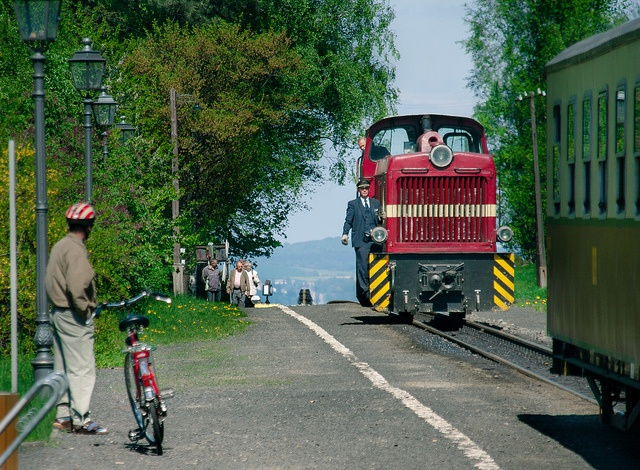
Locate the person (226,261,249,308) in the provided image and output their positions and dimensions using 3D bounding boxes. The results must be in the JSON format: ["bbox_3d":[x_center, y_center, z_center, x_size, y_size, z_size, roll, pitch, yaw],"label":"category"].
[{"bbox_3d":[-2.360,1.474,28.424,0.650,1.732,0.472,3,21,3],"label":"person"}]

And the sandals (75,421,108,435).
[{"bbox_3d":[-2.874,2.376,12.373,0.382,0.173,0.173,0,-2,0],"label":"sandals"}]

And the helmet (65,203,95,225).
[{"bbox_3d":[-3.039,-0.296,12.407,0.303,0.310,0.233,-17,19,-40],"label":"helmet"}]

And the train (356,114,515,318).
[{"bbox_3d":[2.463,-0.444,20.203,2.926,4.101,2.116,1,4,8],"label":"train"}]

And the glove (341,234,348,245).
[{"bbox_3d":[0.505,0.070,20.267,0.147,0.234,0.077,-4,-8,16],"label":"glove"}]

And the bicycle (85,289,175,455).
[{"bbox_3d":[-2.161,1.667,11.885,0.853,1.332,2.012,-14,9,-8],"label":"bicycle"}]

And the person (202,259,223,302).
[{"bbox_3d":[-3.098,1.254,28.386,0.492,1.201,0.654,-1,4,-12],"label":"person"}]
